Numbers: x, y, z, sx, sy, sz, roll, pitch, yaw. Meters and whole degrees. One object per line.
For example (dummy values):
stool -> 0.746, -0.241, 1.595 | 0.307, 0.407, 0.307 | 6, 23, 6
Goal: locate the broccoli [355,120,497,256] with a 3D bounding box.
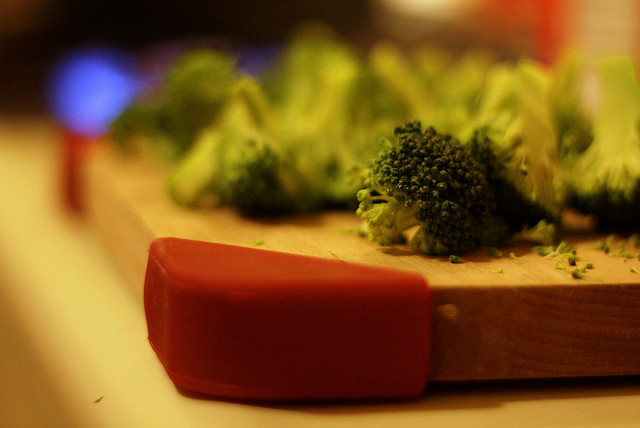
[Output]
broccoli -> 0.147, -0.036, 0.909 | 0.143, 0.171, 0.171 | 34, 65, 27

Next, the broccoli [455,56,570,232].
broccoli -> 0.294, -0.106, 0.938 | 0.157, 0.255, 0.059 | -13, -18, 15

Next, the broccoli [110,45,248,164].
broccoli -> -0.230, -0.214, 1.175 | 0.228, 0.096, 0.375 | -14, -6, -9

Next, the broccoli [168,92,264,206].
broccoli -> -0.150, -0.089, 1.058 | 0.121, 0.047, 0.205 | 16, 80, 56
